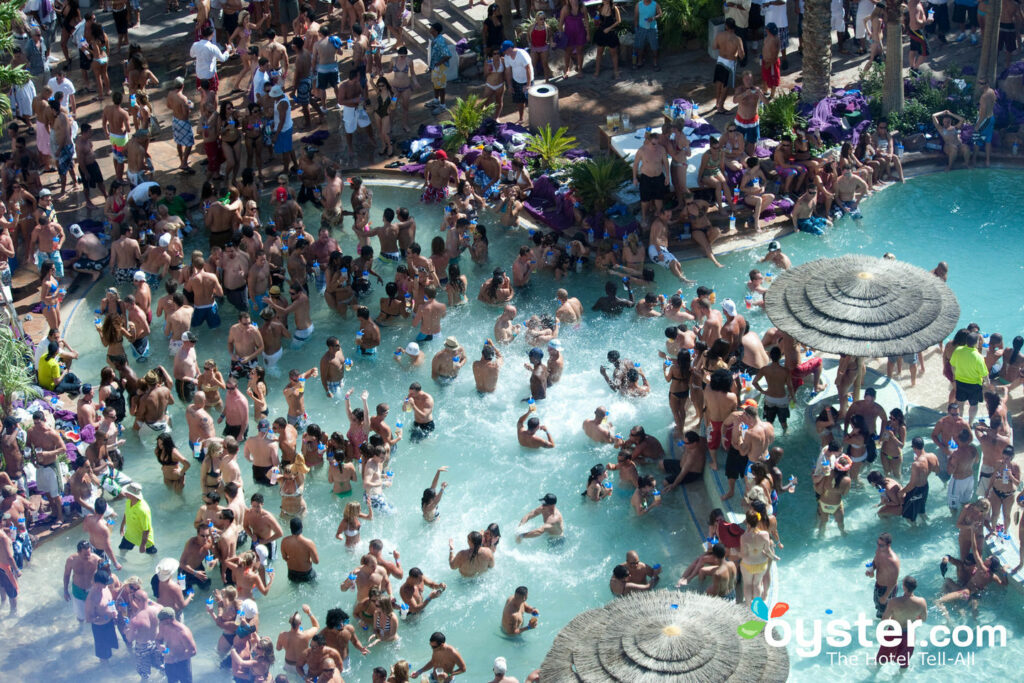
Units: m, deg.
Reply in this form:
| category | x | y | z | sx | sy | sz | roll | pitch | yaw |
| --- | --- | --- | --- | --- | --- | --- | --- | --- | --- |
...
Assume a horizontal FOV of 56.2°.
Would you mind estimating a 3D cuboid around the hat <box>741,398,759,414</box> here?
| category | x | y | z | sx | sy | sz | roll | pitch | yaw |
| --- | --- | --- | --- | --- | --- | --- | --- | --- | --- |
| hat | 4.709 | 1.430 | 18.902 | 0.318 | 0.441 | 0.343 | 6 | 22 | 15 |

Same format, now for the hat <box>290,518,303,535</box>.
| category | x | y | z | sx | sy | sz | roll | pitch | yaw |
| --- | --- | --- | --- | --- | --- | --- | --- | --- | --- |
| hat | -4.096 | 3.503 | 18.086 | 0.242 | 0.296 | 0.320 | 2 | 54 | -6 |

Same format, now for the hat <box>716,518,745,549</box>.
| category | x | y | z | sx | sy | sz | roll | pitch | yaw |
| --- | --- | --- | --- | --- | --- | --- | --- | --- | --- |
| hat | 4.093 | 3.506 | 17.885 | 0.494 | 0.470 | 0.739 | 3 | 38 | 14 |

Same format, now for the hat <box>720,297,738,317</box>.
| category | x | y | z | sx | sy | sz | roll | pitch | yaw |
| --- | --- | --- | --- | --- | --- | --- | --- | --- | --- |
| hat | 4.888 | -0.737 | 21.678 | 0.325 | 0.184 | 0.443 | -8 | 46 | -9 |

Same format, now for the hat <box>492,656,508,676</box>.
| category | x | y | z | sx | sy | sz | roll | pitch | yaw |
| --- | --- | --- | --- | --- | --- | --- | --- | --- | --- |
| hat | -0.208 | 5.418 | 16.219 | 0.279 | 0.378 | 0.396 | 3 | 39 | 0 |

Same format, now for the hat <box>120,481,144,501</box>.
| category | x | y | z | sx | sy | sz | roll | pitch | yaw |
| --- | --- | --- | --- | --- | --- | --- | --- | --- | --- |
| hat | -7.592 | 2.976 | 18.962 | 0.405 | 0.195 | 0.443 | 25 | 32 | -16 |

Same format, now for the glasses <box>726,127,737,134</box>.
| category | x | y | z | sx | sy | sz | roll | pitch | yaw |
| --- | --- | --- | --- | --- | --- | --- | --- | --- | --- |
| glasses | 5.865 | -5.553 | 25.529 | 0.188 | 0.196 | 0.148 | 4 | 19 | 42 |

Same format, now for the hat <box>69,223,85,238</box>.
| category | x | y | z | sx | sy | sz | roll | pitch | yaw |
| --- | --- | --- | --- | --- | --- | --- | --- | --- | --- |
| hat | -11.341 | -2.798 | 24.848 | 0.321 | 0.240 | 0.579 | -28 | 19 | -22 |

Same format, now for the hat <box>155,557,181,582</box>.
| category | x | y | z | sx | sy | sz | roll | pitch | yaw |
| --- | --- | --- | --- | --- | --- | --- | --- | --- | --- |
| hat | -6.262 | 4.133 | 17.499 | 0.417 | 0.142 | 0.460 | 4 | 62 | -4 |

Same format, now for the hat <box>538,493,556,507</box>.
| category | x | y | z | sx | sy | sz | roll | pitch | yaw |
| --- | --- | --- | --- | --- | --- | --- | --- | --- | --- |
| hat | 0.693 | 3.121 | 18.846 | 0.269 | 0.166 | 0.203 | 15 | 30 | 30 |
